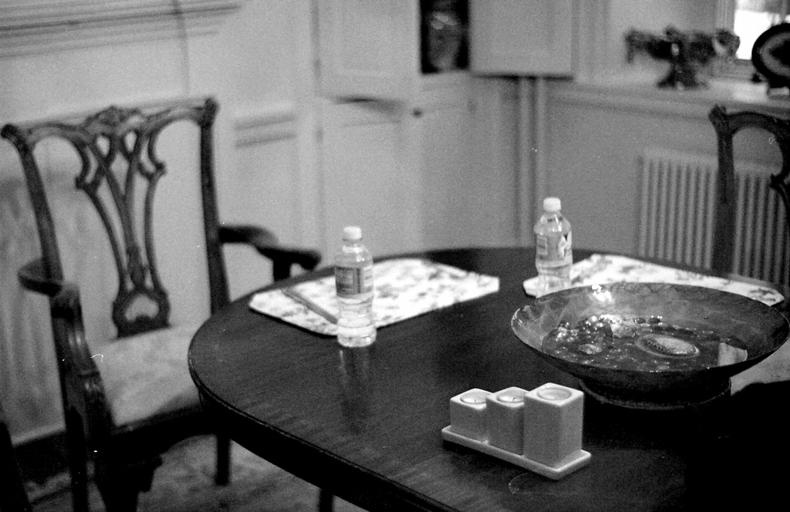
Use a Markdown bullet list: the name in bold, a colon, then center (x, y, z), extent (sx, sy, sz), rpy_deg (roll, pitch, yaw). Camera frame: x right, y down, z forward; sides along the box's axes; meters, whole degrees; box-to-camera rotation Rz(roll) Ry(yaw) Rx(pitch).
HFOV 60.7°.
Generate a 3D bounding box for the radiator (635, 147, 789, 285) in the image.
- **radiator**: center (1.346, -0.173, 2.801), extent (0.041, 0.385, 0.613), rpy_deg (-8, 13, -34)
